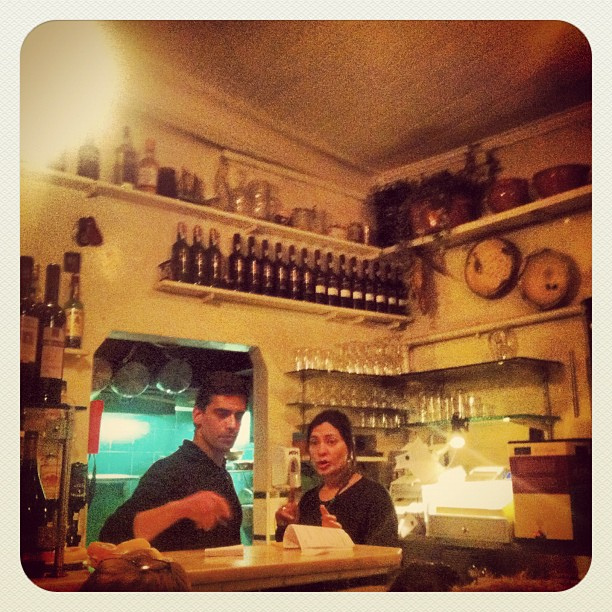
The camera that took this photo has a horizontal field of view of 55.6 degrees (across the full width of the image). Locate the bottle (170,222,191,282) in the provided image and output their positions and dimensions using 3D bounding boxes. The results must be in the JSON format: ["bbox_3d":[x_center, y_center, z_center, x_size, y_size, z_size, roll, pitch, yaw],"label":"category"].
[{"bbox_3d":[-0.473,-0.207,2.214,0.024,0.224,0.084,-9,-15,39],"label":"bottle"}]

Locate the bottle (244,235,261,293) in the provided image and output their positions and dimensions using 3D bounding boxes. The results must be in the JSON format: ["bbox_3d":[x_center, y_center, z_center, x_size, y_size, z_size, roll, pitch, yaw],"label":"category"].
[{"bbox_3d":[-0.215,-0.170,2.376,0.069,0.226,0.032,9,-14,-35],"label":"bottle"}]

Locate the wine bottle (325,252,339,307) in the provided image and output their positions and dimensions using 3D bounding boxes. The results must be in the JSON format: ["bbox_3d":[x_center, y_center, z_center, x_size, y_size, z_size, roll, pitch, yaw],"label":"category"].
[{"bbox_3d":[0.113,-0.115,2.533,0.074,0.230,0.035,11,-16,-41],"label":"wine bottle"}]

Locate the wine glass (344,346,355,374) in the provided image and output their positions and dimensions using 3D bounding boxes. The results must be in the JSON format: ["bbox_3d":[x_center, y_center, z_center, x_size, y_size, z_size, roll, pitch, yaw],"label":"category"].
[{"bbox_3d":[0.179,0.227,2.436,0.040,0.113,0.014,0,-12,1],"label":"wine glass"}]

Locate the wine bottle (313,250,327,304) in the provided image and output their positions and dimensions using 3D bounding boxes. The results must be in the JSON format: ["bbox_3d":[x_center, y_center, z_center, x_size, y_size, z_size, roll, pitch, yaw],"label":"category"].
[{"bbox_3d":[0.062,-0.122,2.515,0.075,0.230,0.026,10,-15,-39],"label":"wine bottle"}]

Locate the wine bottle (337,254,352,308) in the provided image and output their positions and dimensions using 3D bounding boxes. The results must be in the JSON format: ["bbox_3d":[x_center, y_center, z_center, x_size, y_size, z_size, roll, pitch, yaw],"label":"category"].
[{"bbox_3d":[0.168,-0.108,2.552,0.091,0.229,0.043,12,-16,-43],"label":"wine bottle"}]

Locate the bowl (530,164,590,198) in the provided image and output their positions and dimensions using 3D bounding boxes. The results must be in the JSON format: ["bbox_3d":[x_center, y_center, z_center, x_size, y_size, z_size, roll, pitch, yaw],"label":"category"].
[{"bbox_3d":[1.049,-0.514,2.385,0.166,0.098,0.158,1,-20,0],"label":"bowl"}]

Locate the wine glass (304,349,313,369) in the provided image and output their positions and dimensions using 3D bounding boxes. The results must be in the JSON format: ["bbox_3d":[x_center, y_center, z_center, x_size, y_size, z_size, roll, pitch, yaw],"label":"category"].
[{"bbox_3d":[0.011,0.217,2.398,0.031,0.081,0.025,1,-12,-4],"label":"wine glass"}]

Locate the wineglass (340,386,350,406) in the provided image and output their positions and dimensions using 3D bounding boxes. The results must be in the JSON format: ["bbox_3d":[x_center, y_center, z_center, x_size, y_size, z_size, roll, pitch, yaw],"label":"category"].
[{"bbox_3d":[0.159,0.372,2.404,0.039,0.081,0.019,0,-12,2],"label":"wineglass"}]

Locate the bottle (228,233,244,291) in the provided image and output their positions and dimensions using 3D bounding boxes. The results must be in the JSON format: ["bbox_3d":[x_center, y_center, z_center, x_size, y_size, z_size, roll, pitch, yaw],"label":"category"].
[{"bbox_3d":[-0.279,-0.178,2.350,0.069,0.228,0.030,11,-16,-41],"label":"bottle"}]

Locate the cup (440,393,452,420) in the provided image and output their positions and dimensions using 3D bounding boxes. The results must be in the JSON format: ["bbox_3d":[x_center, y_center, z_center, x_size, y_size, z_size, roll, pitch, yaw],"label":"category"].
[{"bbox_3d":[0.577,0.415,2.392,0.044,0.102,0.038,-2,-12,12],"label":"cup"}]

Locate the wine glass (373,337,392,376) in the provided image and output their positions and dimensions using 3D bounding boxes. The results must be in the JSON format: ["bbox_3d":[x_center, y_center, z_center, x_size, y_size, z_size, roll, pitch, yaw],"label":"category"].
[{"bbox_3d":[0.327,0.215,2.487,0.076,0.170,0.033,1,-12,-1],"label":"wine glass"}]

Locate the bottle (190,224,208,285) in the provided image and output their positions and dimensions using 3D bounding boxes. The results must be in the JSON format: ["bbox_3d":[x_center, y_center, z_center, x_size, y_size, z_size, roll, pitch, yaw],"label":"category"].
[{"bbox_3d":[-0.416,-0.199,2.258,0.047,0.224,0.086,-2,-12,13],"label":"bottle"}]

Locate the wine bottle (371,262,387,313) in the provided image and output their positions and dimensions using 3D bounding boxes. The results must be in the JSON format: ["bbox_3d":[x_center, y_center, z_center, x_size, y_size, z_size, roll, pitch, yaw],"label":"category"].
[{"bbox_3d":[0.325,-0.082,2.576,0.062,0.221,0.020,2,-12,-5],"label":"wine bottle"}]

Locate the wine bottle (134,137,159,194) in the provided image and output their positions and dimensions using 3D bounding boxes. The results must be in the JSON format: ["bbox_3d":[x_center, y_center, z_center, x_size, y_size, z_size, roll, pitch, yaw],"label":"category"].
[{"bbox_3d":[-0.603,-0.537,2.210,0.089,0.222,0.023,4,-12,-16],"label":"wine bottle"}]

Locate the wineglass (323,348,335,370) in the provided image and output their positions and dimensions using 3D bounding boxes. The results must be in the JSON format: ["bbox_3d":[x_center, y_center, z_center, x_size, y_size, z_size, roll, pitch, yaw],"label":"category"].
[{"bbox_3d":[0.094,0.221,2.420,0.050,0.091,0.017,2,-12,-7],"label":"wineglass"}]

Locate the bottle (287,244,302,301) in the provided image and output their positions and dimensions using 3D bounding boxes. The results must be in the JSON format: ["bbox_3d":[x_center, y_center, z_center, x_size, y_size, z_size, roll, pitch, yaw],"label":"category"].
[{"bbox_3d":[-0.052,-0.142,2.461,0.036,0.225,0.078,-6,-14,31],"label":"bottle"}]

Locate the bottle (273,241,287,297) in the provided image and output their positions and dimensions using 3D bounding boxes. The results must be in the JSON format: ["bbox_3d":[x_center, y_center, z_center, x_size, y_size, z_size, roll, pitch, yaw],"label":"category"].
[{"bbox_3d":[-0.110,-0.154,2.434,0.032,0.226,0.066,-6,-14,30],"label":"bottle"}]

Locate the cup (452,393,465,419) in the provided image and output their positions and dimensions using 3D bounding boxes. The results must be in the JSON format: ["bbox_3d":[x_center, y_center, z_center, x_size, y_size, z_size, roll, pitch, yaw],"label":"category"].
[{"bbox_3d":[0.625,0.409,2.377,0.048,0.104,0.033,-2,-12,12],"label":"cup"}]

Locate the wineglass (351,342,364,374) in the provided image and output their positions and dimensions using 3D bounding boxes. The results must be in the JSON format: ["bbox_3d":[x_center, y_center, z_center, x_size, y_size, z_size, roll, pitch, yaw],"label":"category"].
[{"bbox_3d":[0.223,0.218,2.451,0.063,0.135,0.025,6,-13,-26],"label":"wineglass"}]

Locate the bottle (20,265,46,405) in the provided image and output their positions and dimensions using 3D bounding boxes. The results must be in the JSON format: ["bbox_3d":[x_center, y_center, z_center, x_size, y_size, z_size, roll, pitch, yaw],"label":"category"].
[{"bbox_3d":[-0.890,0.078,1.888,0.082,0.463,0.131,7,-13,-28],"label":"bottle"}]

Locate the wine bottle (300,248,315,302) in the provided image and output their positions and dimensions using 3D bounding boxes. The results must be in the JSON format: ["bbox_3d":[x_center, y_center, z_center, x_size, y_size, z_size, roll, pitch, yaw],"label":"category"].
[{"bbox_3d":[0.009,-0.132,2.489,0.077,0.228,0.024,9,-14,-35],"label":"wine bottle"}]

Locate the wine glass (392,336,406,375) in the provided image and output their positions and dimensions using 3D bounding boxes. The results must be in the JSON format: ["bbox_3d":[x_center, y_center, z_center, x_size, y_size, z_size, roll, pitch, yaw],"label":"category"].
[{"bbox_3d":[0.394,0.213,2.493,0.055,0.166,0.033,0,-12,1],"label":"wine glass"}]

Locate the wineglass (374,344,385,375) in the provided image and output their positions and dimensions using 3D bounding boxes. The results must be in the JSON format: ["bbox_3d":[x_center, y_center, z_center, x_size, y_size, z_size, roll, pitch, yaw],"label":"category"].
[{"bbox_3d":[0.311,0.228,2.485,0.047,0.134,0.032,1,-12,-1],"label":"wineglass"}]

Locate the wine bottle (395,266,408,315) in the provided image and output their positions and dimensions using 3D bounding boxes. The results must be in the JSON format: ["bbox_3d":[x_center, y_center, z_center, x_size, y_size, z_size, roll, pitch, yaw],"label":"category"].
[{"bbox_3d":[0.422,-0.066,2.583,0.058,0.216,0.012,3,-12,-13],"label":"wine bottle"}]

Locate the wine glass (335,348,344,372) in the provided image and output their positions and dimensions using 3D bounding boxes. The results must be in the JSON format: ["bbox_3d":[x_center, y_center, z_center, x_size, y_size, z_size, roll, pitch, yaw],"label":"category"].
[{"bbox_3d":[0.140,0.226,2.430,0.032,0.098,0.013,0,-12,2],"label":"wine glass"}]

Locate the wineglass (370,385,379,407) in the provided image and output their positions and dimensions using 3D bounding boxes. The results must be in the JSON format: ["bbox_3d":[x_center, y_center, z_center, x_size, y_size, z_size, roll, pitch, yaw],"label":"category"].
[{"bbox_3d":[0.285,0.375,2.427,0.040,0.087,0.016,2,-12,-9],"label":"wineglass"}]

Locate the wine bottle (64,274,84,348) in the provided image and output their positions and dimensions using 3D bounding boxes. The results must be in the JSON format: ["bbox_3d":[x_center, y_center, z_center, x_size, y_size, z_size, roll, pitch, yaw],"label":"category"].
[{"bbox_3d":[-0.793,0.014,1.987,0.063,0.254,0.018,6,-13,-24],"label":"wine bottle"}]

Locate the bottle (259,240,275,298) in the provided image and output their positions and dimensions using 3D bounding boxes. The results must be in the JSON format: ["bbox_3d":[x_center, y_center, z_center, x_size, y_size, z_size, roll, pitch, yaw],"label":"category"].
[{"bbox_3d":[-0.160,-0.147,2.405,0.085,0.244,0.027,10,-15,-39],"label":"bottle"}]

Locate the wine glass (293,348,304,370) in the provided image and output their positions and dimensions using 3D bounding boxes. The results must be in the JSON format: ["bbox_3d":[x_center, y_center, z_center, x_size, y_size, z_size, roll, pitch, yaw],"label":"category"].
[{"bbox_3d":[-0.031,0.218,2.385,0.040,0.091,0.025,1,-12,-2],"label":"wine glass"}]
